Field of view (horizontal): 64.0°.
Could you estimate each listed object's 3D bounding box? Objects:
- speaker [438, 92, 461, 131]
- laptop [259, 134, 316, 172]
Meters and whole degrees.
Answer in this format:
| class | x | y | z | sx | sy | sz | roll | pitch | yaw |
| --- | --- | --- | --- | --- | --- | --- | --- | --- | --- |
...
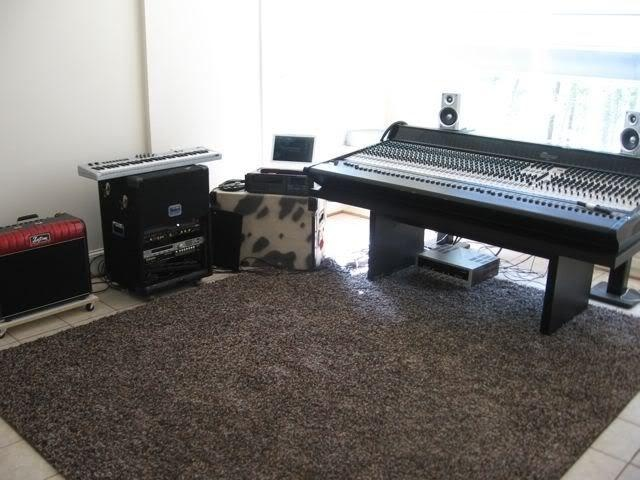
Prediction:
| class | x | y | z | sx | sy | sz | roll | pitch | yaw |
| --- | --- | --- | --- | --- | --- | --- | --- | --- | --- |
| speaker | 0.944 | -0.936 | 3.739 | 0.141 | 0.250 | 0.104 | 6 | 23 | 11 |
| laptop | -0.249 | -0.690 | 4.025 | 0.389 | 0.236 | 0.302 | 4 | 22 | 6 |
